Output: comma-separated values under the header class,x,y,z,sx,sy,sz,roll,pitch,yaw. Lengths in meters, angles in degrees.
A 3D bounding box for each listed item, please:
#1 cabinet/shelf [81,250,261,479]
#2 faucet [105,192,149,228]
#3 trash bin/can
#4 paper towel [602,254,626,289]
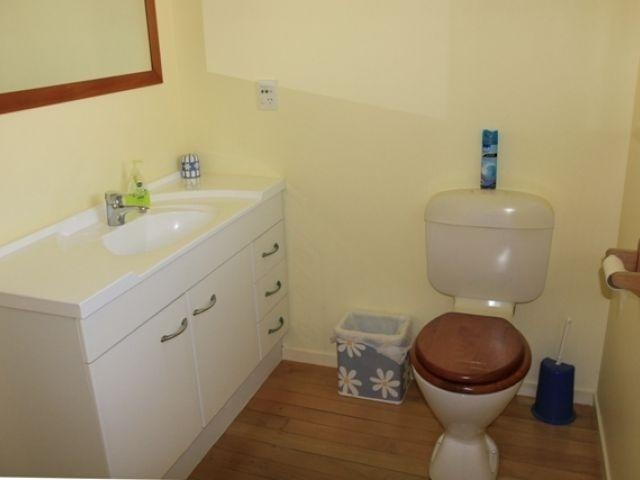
class,x,y,z,sx,sy,sz,roll,pitch,yaw
cabinet/shelf,-0.573,0.472,1.887,0.240,0.667,0.745,9,23,20
faucet,-0.813,-0.153,2.120,0.100,0.142,0.174,5,23,15
trash bin/can,0.301,0.567,2.660,0.464,0.498,0.394,5,24,16
paper towel,0.919,0.092,1.583,0.034,0.120,0.087,-16,41,17
